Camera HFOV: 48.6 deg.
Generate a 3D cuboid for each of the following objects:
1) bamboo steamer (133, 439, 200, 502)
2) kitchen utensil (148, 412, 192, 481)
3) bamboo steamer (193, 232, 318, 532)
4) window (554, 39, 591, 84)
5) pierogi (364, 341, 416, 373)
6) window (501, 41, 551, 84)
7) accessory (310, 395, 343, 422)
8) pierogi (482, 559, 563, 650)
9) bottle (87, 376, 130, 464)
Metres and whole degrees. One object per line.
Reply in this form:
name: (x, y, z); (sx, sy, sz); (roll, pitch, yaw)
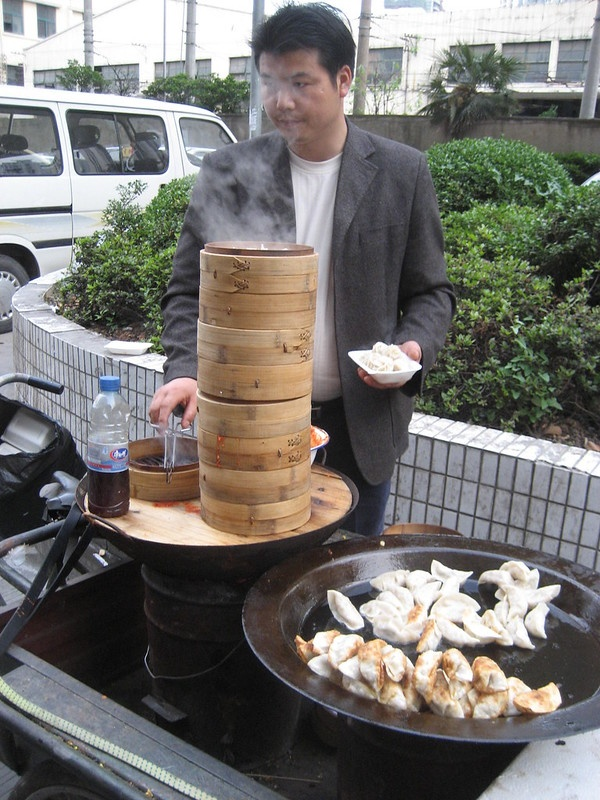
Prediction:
bamboo steamer: (-0.302, 0.143, 1.519); (0.151, 0.052, 0.145); (1, 7, 2)
kitchen utensil: (-0.304, 0.111, 1.555); (0.037, 0.139, 0.056); (14, -23, -34)
bamboo steamer: (-0.084, -0.023, 1.266); (0.254, 0.556, 0.229); (7, 9, 3)
window: (14.133, -17.616, 34.662); (1.381, 2.129, 0.734); (7, 9, 4)
pierogi: (0.218, -0.100, 1.591); (0.096, 0.034, 0.091); (4, 19, -3)
window: (12.310, -17.998, 35.717); (0.751, 2.446, 2.596); (0, 11, -37)
accessory: (0.065, 0.025, 1.933); (0.066, 0.030, 0.085); (8, 18, 28)
pierogi: (0.384, 0.354, 1.176); (0.092, 0.031, 0.132); (-1, 23, -19)
bottle: (-0.387, 0.042, 1.351); (0.080, 0.184, 0.133); (4, 9, -17)
